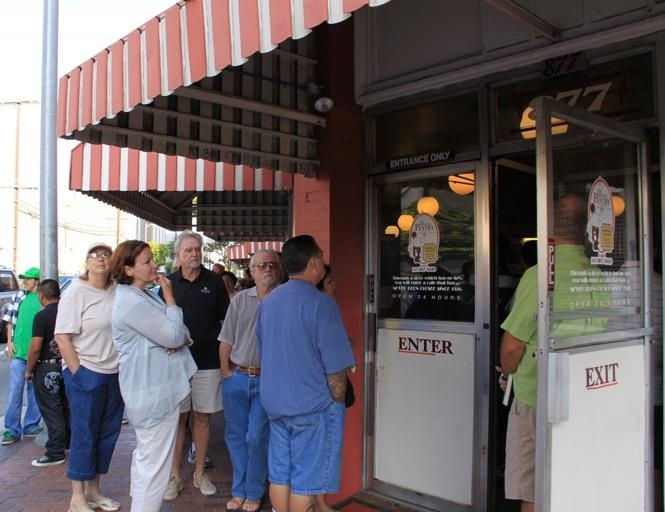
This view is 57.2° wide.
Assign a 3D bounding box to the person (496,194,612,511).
[{"bbox_3d":[1.408,0.710,4.161,0.691,2.200,0.621,2,-2,-32],"label":"person"}]

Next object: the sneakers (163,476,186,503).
[{"bbox_3d":[-1.484,2.174,5.694,0.089,0.125,0.281,0,-14,2],"label":"sneakers"}]

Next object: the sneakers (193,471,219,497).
[{"bbox_3d":[-1.230,2.182,5.884,0.112,0.129,0.300,6,-8,-35],"label":"sneakers"}]

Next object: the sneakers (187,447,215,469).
[{"bbox_3d":[-1.448,2.194,6.639,0.154,0.231,0.476,7,-15,-26],"label":"sneakers"}]

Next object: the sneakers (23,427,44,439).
[{"bbox_3d":[-3.688,2.186,7.528,0.237,0.112,0.096,0,0,-13],"label":"sneakers"}]

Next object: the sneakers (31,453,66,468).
[{"bbox_3d":[-3.052,2.198,6.567,0.318,0.137,0.134,8,-5,-16],"label":"sneakers"}]

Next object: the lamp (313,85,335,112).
[{"bbox_3d":[-0.080,-1.442,5.544,0.184,0.264,0.116,1,-2,4],"label":"lamp"}]
